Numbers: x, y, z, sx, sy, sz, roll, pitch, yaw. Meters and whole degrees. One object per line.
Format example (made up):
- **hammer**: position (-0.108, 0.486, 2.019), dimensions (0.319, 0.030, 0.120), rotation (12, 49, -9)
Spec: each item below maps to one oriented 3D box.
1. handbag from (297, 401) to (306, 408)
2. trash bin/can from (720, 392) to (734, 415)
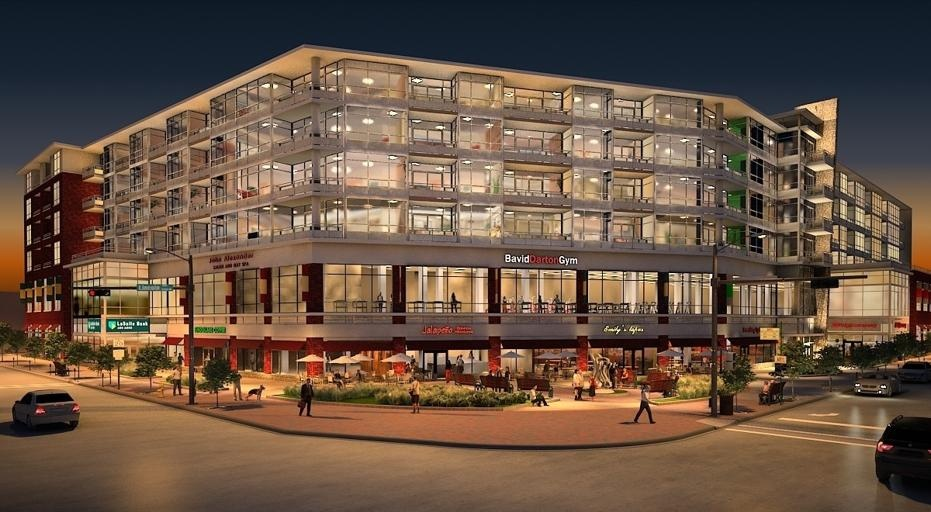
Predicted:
- **handbag**: position (-16.293, 14.823, 85.001), dimensions (0.716, 0.888, 1.828), rotation (1, -10, -11)
- **trash bin/can**: position (26.074, 14.892, 85.387), dimensions (1.359, 2.156, 0.799), rotation (-3, -11, 9)
